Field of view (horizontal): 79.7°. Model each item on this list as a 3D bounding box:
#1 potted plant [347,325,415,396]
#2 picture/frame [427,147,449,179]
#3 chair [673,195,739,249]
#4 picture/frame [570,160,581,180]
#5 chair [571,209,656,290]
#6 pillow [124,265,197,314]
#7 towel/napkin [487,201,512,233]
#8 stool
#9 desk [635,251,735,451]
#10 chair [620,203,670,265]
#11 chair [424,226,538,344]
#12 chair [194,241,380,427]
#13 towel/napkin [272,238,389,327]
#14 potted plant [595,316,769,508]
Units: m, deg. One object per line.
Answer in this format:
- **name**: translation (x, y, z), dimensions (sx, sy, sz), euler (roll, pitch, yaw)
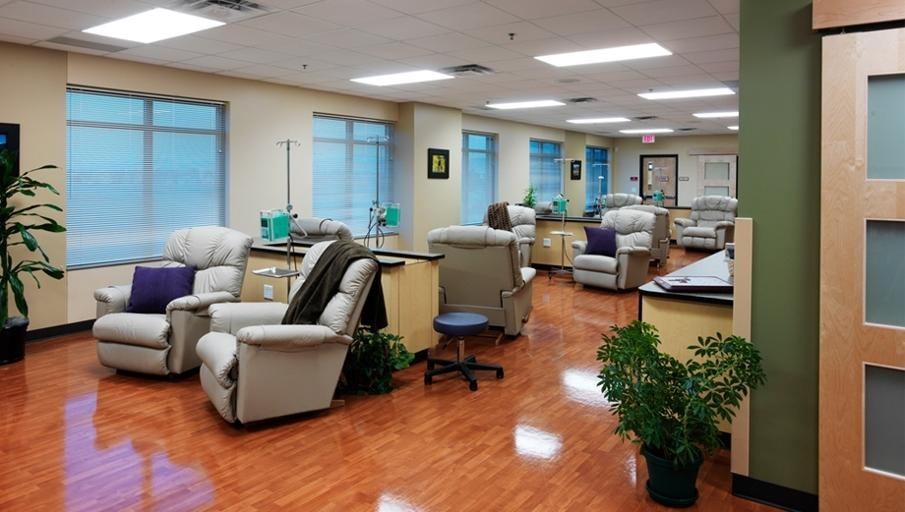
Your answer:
- **potted plant**: translation (-0.831, 1.148, 6.004), dimensions (0.455, 0.594, 0.617), euler (5, -6, -6)
- **picture/frame**: translation (-0.312, -1.877, 10.986), dimensions (0.733, 0.696, 0.054), euler (-3, 5, -44)
- **chair**: translation (6.520, -0.846, 13.995), dimensions (1.583, 1.249, 1.501), euler (-4, 12, -3)
- **picture/frame**: translation (3.531, -2.473, 15.673), dimensions (0.044, 0.585, 0.638), euler (2, 4, 37)
- **chair**: translation (3.030, -0.138, 10.010), dimensions (1.462, 1.346, 1.410), euler (-5, 11, -9)
- **pillow**: translation (-3.348, 0.373, 6.254), dimensions (0.751, 0.514, 0.282), euler (0, 0, 5)
- **towel/napkin**: translation (0.879, -0.776, 10.619), dimensions (0.689, 0.588, 0.647), euler (3, 10, 25)
- **stool**: translation (0.133, 1.035, 6.140), dimensions (0.916, 0.668, 0.874), euler (2, 2, -4)
- **desk**: translation (1.936, 0.833, 4.493), dimensions (0.538, 0.883, 1.866), euler (4, 7, 38)
- **chair**: translation (4.537, -0.384, 12.554), dimensions (0.928, 1.171, 0.934), euler (-20, 1, 27)
- **chair**: translation (0.325, 0.307, 7.479), dimensions (1.558, 1.573, 1.398), euler (2, 4, 24)
- **chair**: translation (-1.695, 0.741, 5.673), dimensions (1.773, 1.382, 1.573), euler (-2, 8, -19)
- **towel/napkin**: translation (-1.112, 0.320, 5.477), dimensions (0.956, 0.891, 0.401), euler (12, -16, 36)
- **potted plant**: translation (1.874, 1.260, 4.320), dimensions (1.490, 1.393, 0.977), euler (3, 8, 22)
